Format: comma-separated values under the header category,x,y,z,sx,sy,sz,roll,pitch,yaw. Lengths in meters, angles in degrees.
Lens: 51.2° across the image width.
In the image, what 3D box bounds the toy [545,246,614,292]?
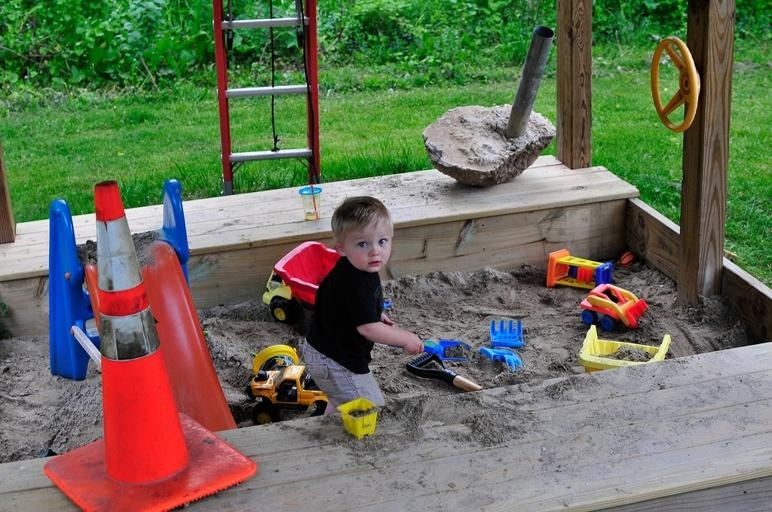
category,x,y,z,sx,sy,sz,roll,pitch,yaw
toy,1.293,0.059,5.412,0.365,0.250,0.243,10,17,37

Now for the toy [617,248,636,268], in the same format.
category,x,y,z,sx,sy,sz,roll,pitch,yaw
toy,1.682,0.008,5.657,0.122,0.068,0.080,-29,46,-35

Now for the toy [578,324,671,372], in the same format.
category,x,y,z,sx,sy,sz,roll,pitch,yaw
toy,1.367,0.526,4.619,0.446,0.163,0.585,4,17,25

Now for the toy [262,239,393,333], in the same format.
category,x,y,z,sx,sy,sz,roll,pitch,yaw
toy,-0.377,0.239,5.097,0.716,0.366,0.496,20,43,24

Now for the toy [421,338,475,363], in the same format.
category,x,y,z,sx,sy,sz,roll,pitch,yaw
toy,0.357,0.557,4.803,0.187,0.052,0.142,-1,25,-4

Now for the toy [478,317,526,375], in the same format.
category,x,y,z,sx,sy,sz,roll,pitch,yaw
toy,0.689,0.508,4.825,0.261,0.195,0.485,-1,16,10

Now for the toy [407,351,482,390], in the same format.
category,x,y,z,sx,sy,sz,roll,pitch,yaw
toy,0.321,0.612,4.562,0.387,0.068,0.182,19,30,37

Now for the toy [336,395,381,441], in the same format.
category,x,y,z,sx,sy,sz,roll,pitch,yaw
toy,-0.119,0.689,3.461,0.180,0.141,0.158,-9,17,-23

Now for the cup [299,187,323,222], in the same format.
category,x,y,z,sx,sy,sz,roll,pitch,yaw
cup,-0.517,-0.356,5.505,0.173,0.227,0.205,-2,18,-6

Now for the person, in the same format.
category,x,y,z,sx,sy,sz,roll,pitch,yaw
person,-0.139,0.300,4.390,0.642,1.385,0.581,-3,34,-7

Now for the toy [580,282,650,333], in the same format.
category,x,y,z,sx,sy,sz,roll,pitch,yaw
toy,1.421,0.309,4.999,0.346,0.209,0.259,13,30,33

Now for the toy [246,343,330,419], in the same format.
category,x,y,z,sx,sy,sz,roll,pitch,yaw
toy,-0.564,0.689,4.464,0.489,0.303,0.306,6,33,-3
